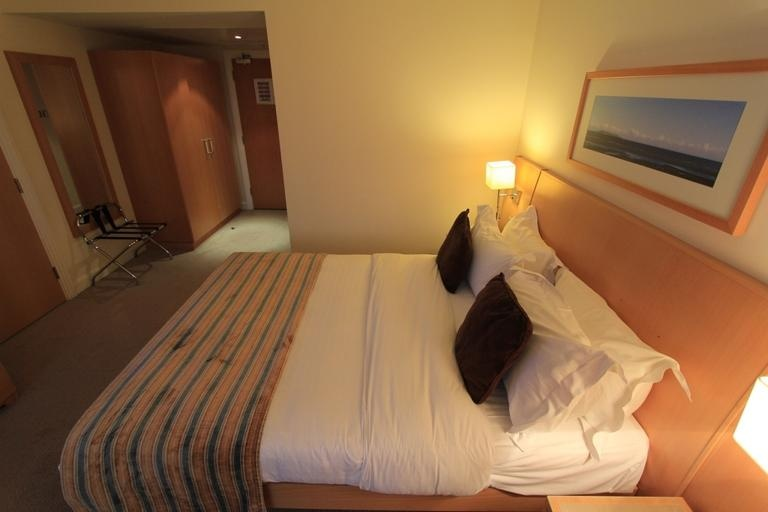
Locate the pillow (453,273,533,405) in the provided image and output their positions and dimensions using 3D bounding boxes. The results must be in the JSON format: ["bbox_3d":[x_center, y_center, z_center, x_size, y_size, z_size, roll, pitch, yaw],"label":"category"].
[{"bbox_3d":[0.729,0.534,3.348,0.427,0.647,0.830,-3,23,3],"label":"pillow"}]

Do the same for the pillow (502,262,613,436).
[{"bbox_3d":[1.004,0.606,3.016,0.231,0.708,0.788,-10,28,23],"label":"pillow"}]

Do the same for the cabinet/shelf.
[{"bbox_3d":[-2.601,-1.232,5.548,0.783,2.350,1.935,-1,21,1],"label":"cabinet/shelf"}]

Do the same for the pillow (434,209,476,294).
[{"bbox_3d":[0.610,0.030,4.344,0.338,0.682,0.958,3,-8,-2],"label":"pillow"}]

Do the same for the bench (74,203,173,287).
[{"bbox_3d":[-2.819,-0.047,5.536,0.744,0.934,1.111,4,29,-6],"label":"bench"}]
